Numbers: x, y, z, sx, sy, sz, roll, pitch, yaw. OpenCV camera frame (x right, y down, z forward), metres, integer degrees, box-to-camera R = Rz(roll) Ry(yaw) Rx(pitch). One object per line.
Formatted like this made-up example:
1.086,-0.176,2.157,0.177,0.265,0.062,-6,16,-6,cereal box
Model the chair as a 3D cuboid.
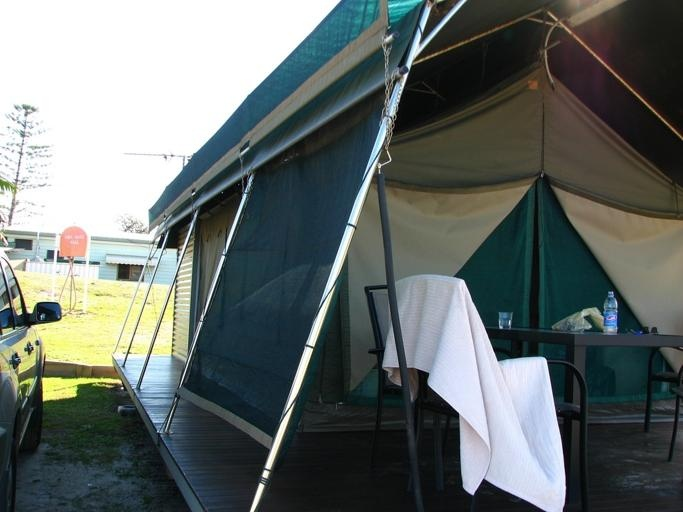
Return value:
0.972,0.655,3.426,1.123,1.463,1.204,3,-11,-24,chair
